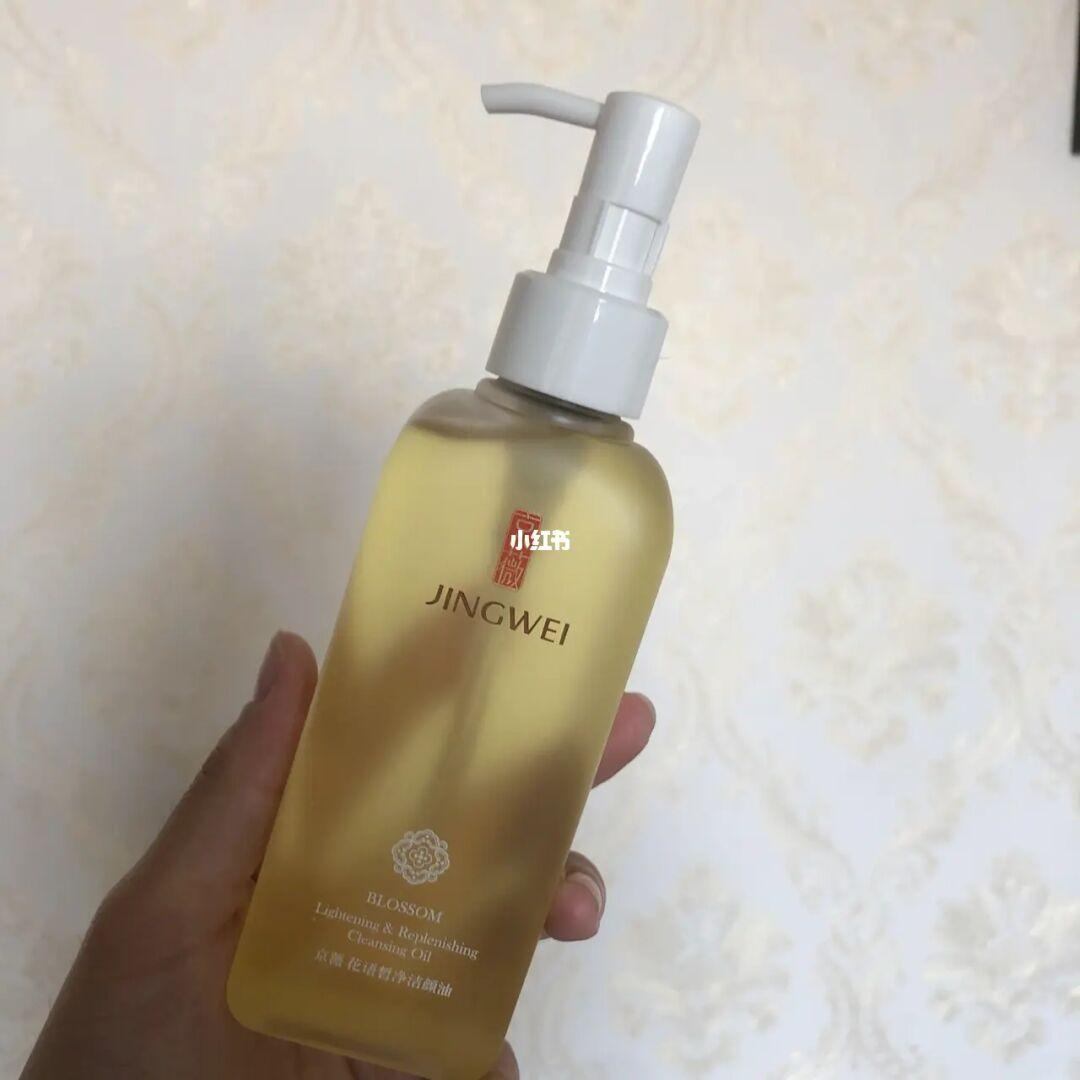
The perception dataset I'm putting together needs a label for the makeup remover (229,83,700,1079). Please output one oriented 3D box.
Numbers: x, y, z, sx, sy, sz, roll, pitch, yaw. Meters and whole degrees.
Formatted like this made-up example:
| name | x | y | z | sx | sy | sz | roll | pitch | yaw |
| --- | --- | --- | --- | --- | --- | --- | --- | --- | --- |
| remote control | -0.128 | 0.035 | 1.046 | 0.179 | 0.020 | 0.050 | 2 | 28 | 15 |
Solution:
| name | x | y | z | sx | sy | sz | roll | pitch | yaw |
| --- | --- | --- | --- | --- | --- | --- | --- | --- | --- |
| makeup remover | -0.016 | 0.019 | 0.494 | 0.121 | 0.379 | 0.117 | 17 | 19 | -1 |
